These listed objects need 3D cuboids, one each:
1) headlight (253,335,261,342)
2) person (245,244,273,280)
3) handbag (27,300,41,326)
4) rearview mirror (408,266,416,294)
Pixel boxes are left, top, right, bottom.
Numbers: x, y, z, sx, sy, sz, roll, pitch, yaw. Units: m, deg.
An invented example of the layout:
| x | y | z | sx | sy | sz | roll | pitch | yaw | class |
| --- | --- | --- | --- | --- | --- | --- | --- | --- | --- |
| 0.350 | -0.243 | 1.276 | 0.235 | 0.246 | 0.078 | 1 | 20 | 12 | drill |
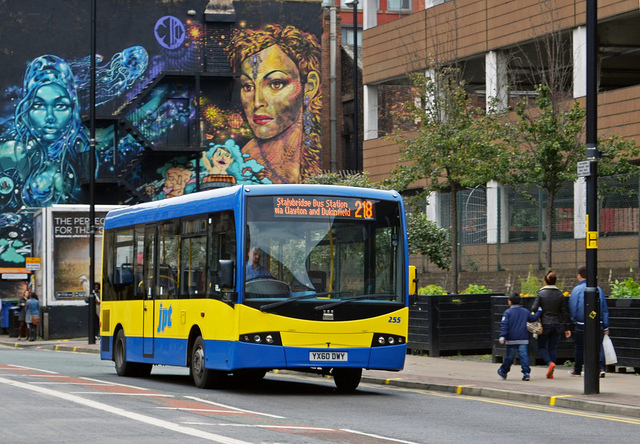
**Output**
| x | y | z | sx | sy | sz | roll | pitch | yaw | class |
| --- | --- | --- | --- | --- | --- | --- | --- | --- | --- |
| -1.374 | 2.604 | 24.641 | 0.125 | 0.124 | 0.125 | 0 | -1 | -7 | headlight |
| -1.468 | 0.927 | 25.001 | 0.917 | 0.725 | 0.437 | 4 | -2 | -15 | person |
| -11.432 | 3.738 | 44.939 | 0.302 | 0.804 | 0.482 | -25 | -18 | 4 | handbag |
| 2.139 | 1.366 | 25.747 | 0.152 | 0.646 | 0.286 | 0 | 0 | 2 | rearview mirror |
